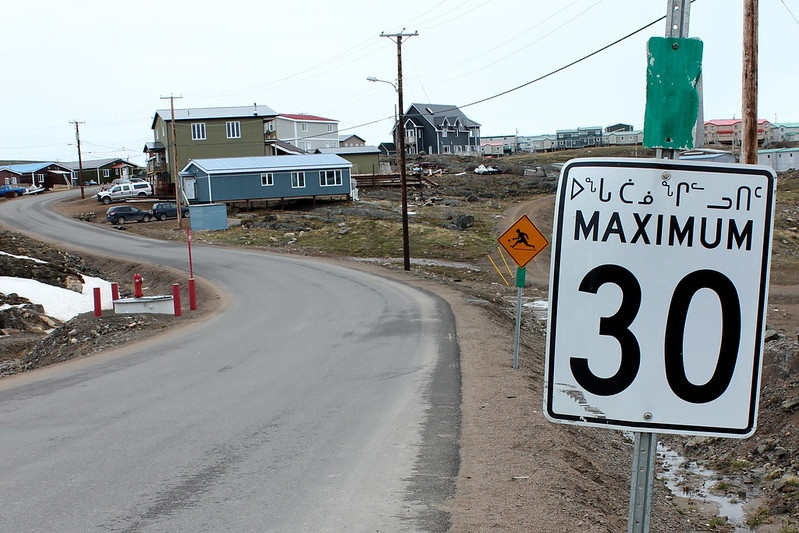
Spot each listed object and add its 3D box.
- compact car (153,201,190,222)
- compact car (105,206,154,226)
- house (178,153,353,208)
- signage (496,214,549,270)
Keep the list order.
[{"bbox_3d":[-16.667,-3.923,50.913,2.963,1.083,1.316,-10,15,-36],"label":"compact car"},{"bbox_3d":[-19.232,-3.549,49.745,2.639,0.880,1.353,-6,11,-30],"label":"compact car"},{"bbox_3d":[-10.314,-6.659,54.739,12.012,3.346,4.362,-6,9,-26],"label":"house"},{"bbox_3d":[2.615,-0.505,14.607,0.866,1.088,0.727,-4,9,-4],"label":"signage"}]
